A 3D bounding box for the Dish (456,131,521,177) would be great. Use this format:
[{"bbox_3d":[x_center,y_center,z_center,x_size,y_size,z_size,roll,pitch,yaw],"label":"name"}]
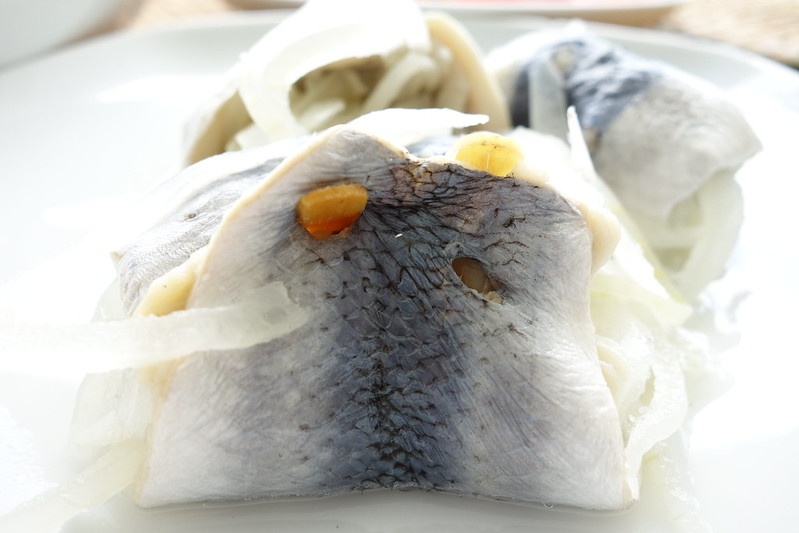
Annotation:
[{"bbox_3d":[0.126,-0.157,1.435,0.096,0.047,0.050,-1,46,12],"label":"Dish"}]
